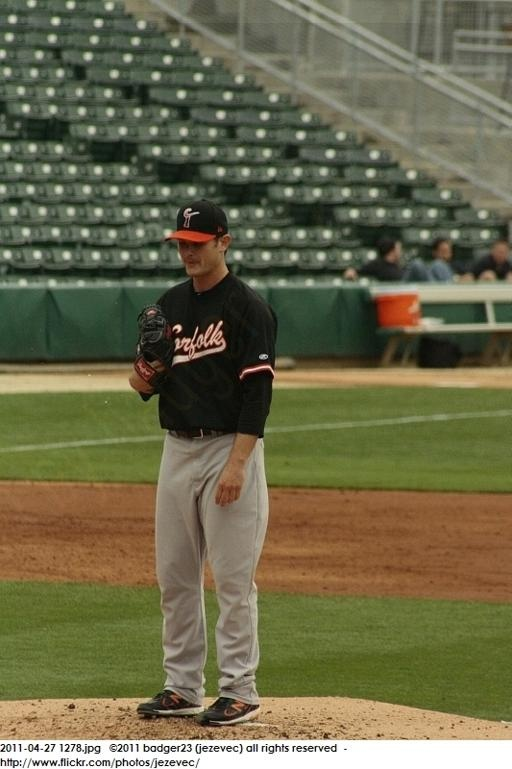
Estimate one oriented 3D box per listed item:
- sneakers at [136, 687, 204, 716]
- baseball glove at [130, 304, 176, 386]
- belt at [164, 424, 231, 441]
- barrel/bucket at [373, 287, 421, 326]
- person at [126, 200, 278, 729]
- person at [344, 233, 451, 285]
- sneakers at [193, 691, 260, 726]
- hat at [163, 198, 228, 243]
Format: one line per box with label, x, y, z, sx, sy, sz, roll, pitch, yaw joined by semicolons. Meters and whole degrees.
sneakers;-0.289;1.055;4.251;0.224;0.092;0.085;3;-3;-8
baseball glove;-0.350;-0.141;4.293;0.141;0.228;0.094;-6;-6;30
belt;-0.196;0.166;4.207;0.202;0.044;0.033;5;12;17
barrel/bucket;1.031;-0.570;9.436;0.303;0.202;0.279;-1;1;0
person;-0.180;0.245;4.240;0.478;1.671;0.619;1;12;-6
person;1.152;-0.986;10.261;0.741;0.343;1.044;8;12;30
sneakers;-0.094;1.067;4.187;0.204;0.083;0.072;1;-4;-29
hat;-0.203;-0.536;4.214;0.132;0.101;0.196;5;8;30
